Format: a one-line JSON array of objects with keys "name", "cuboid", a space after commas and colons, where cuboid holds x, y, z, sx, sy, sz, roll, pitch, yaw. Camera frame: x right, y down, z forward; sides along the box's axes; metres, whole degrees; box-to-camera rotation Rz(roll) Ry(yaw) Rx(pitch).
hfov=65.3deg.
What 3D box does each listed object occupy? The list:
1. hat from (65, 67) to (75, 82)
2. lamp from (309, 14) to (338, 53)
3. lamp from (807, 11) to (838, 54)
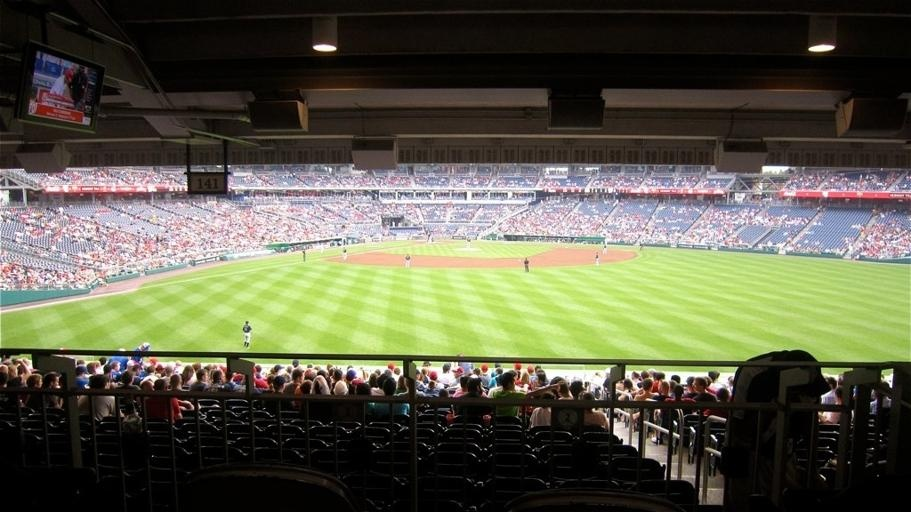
[{"name": "hat", "cuboid": [-9.140, -4.321, 16.885, 0.252, 0.294, 0.093, 5, -5, -22]}, {"name": "lamp", "cuboid": [-2.977, -5.043, 16.208, 0.987, 0.742, 0.804, -1, 4, 0]}, {"name": "lamp", "cuboid": [8.142, -4.990, 15.867, 0.538, 0.725, 0.431, 2, -5, 18]}]
